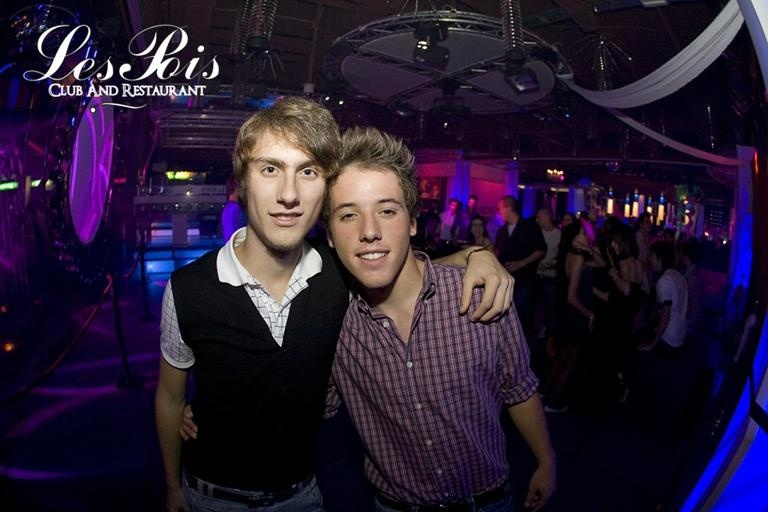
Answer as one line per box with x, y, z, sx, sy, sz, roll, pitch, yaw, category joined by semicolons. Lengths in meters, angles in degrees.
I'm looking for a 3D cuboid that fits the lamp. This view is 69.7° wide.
0.824;-1.670;5.144;1.078;0.317;1.054;19;-33;-24;lamp
